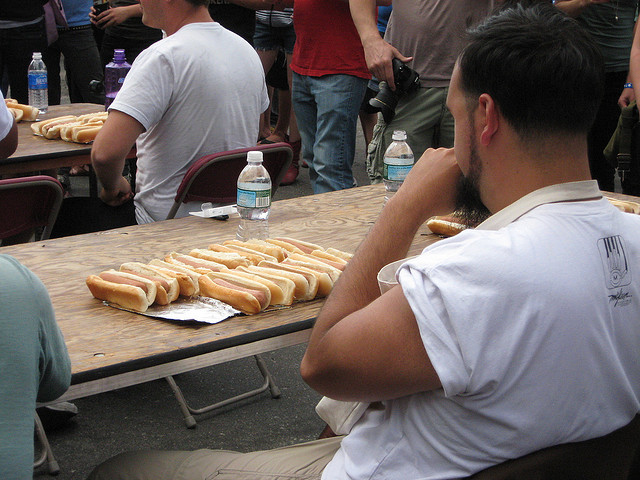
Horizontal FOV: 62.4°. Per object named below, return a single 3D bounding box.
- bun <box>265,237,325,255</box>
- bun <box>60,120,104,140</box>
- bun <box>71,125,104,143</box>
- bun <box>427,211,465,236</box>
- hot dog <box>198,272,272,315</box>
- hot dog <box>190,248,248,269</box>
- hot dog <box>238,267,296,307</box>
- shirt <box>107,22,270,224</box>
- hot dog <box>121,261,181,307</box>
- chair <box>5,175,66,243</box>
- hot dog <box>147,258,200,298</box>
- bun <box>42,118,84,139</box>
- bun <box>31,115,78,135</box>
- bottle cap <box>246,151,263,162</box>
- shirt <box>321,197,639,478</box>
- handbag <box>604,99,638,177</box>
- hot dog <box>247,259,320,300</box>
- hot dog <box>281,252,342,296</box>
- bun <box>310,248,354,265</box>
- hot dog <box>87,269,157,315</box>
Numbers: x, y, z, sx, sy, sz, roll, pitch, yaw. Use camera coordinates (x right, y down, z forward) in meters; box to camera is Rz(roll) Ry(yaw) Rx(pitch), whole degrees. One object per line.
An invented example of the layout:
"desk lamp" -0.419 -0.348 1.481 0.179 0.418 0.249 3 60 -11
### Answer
"bun" -0.102 0.019 2.023 0.125 0.037 0.101 22 12 31
"bun" -1.602 -0.709 3.491 0.180 0.072 0.140 -6 14 21
"bun" -1.530 -0.684 3.453 0.163 0.088 0.093 -21 32 -35
"bun" 0.520 -0.060 2.265 0.121 0.053 0.152 12 18 40
"hot dog" -0.264 0.142 1.677 0.225 0.075 0.109 21 36 33
"hot dog" -0.372 0.036 1.919 0.252 0.074 0.079 12 22 42
"hot dog" -0.149 0.137 1.710 0.130 0.049 0.130 -2 16 -40
"shirt" -0.719 -0.642 3.029 0.860 1.074 0.316 -11 27 -21
"hot dog" -0.556 0.110 1.731 0.101 0.072 0.206 -23 36 -34
"chair" -1.415 -0.147 2.621 0.217 0.393 0.286 -12 62 -26
"hot dog" -0.488 0.099 1.754 0.180 0.059 0.094 24 30 36
"bun" -1.749 -0.763 3.569 0.122 0.072 0.257 11 22 23
"bun" -1.832 -0.773 3.643 0.263 0.079 0.152 -15 11 -32
"bottle cap" -0.288 -0.364 2.326 0.094 0.052 0.096 1 14 -1
"shirt" 0.377 0.251 1.134 0.681 0.606 0.222 -6 26 -11
"handbag" 2.305 -0.739 4.012 0.139 0.445 0.317 12 45 19
"hot dog" -0.111 0.113 1.782 0.155 0.059 0.153 2 8 -37
"hot dog" -0.010 0.093 1.817 0.144 0.055 0.148 23 15 20
"bun" 0.041 0.053 1.940 0.087 0.028 0.072 19 14 7
"hot dog" -0.631 0.140 1.695 0.222 0.091 0.110 19 38 32
